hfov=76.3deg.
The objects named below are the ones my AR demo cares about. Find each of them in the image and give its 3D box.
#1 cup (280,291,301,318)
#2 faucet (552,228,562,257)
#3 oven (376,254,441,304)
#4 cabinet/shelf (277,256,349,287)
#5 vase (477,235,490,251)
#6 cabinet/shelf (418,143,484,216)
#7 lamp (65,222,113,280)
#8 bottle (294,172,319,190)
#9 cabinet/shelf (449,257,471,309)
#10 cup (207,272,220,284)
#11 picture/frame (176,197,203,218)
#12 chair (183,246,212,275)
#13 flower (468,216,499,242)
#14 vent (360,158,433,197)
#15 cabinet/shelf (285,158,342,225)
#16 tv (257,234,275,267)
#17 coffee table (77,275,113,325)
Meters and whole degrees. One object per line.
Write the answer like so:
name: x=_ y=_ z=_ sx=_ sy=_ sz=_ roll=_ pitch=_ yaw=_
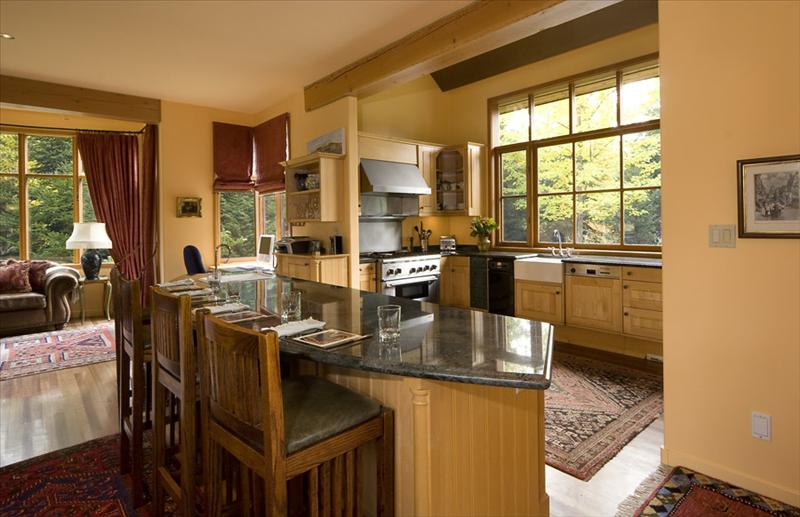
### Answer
cup: x=-0.750 y=0.329 z=3.687 sx=0.187 sy=0.199 sz=0.184 roll=0 pitch=0 yaw=0
faucet: x=2.109 y=-0.217 z=6.753 sx=0.124 sy=0.303 sz=0.390 roll=3 pitch=12 yaw=16
oven: x=0.114 y=0.301 z=7.171 sx=0.849 sy=0.738 sz=0.512 roll=-6 pitch=13 yaw=-17
cabinet/shelf: x=-1.172 y=0.128 z=6.589 sx=0.955 sy=0.441 sz=0.473 roll=5 pitch=12 yaw=24
vase: x=1.229 y=-0.230 z=7.419 sx=0.211 sy=0.229 sz=0.205 roll=-3 pitch=5 yaw=-9
cabinet/shelf: x=0.750 y=-1.221 z=7.945 sx=0.885 sy=1.181 sz=1.270 roll=-1 pitch=13 yaw=-21
lamp: x=-4.519 y=-0.102 z=7.430 sx=0.675 sy=0.792 sz=0.669 roll=-2 pitch=-3 yaw=-31
bottle: x=-1.243 y=-1.040 z=6.867 sx=0.243 sy=0.234 sz=0.377 roll=-5 pitch=8 yaw=-41
cabinet/shelf: x=0.860 y=0.309 z=7.225 sx=0.131 sy=0.719 sz=0.457 roll=-9 pitch=14 yaw=-34
cup: x=-1.739 y=0.181 z=4.757 sx=0.097 sy=0.069 sz=0.088 roll=0 pitch=-4 yaw=0
picture/frame: x=-3.156 y=-0.773 z=7.582 sx=0.335 sy=0.305 sz=0.024 roll=-1 pitch=3 yaw=-36
chair: x=-2.636 y=0.011 z=6.545 sx=0.199 sy=0.366 sz=0.520 roll=-9 pitch=14 yaw=-35
flower: x=1.249 y=-0.426 z=7.416 sx=0.376 sy=0.315 sz=0.376 roll=1 pitch=-1 yaw=-43
vent: x=-0.072 y=-1.123 z=7.023 sx=0.333 sy=0.384 sz=1.166 roll=10 pitch=11 yaw=40
cabinet/shelf: x=-1.198 y=-0.915 z=6.821 sx=0.356 sy=0.809 sz=0.984 roll=-3 pitch=4 yaw=-39
tv: x=-1.925 y=-0.109 z=7.348 sx=0.048 sy=0.382 sz=0.523 roll=-2 pitch=2 yaw=-36
coffee table: x=-4.602 y=0.569 z=7.657 sx=0.567 sy=0.557 sz=0.554 roll=4 pitch=8 yaw=7
